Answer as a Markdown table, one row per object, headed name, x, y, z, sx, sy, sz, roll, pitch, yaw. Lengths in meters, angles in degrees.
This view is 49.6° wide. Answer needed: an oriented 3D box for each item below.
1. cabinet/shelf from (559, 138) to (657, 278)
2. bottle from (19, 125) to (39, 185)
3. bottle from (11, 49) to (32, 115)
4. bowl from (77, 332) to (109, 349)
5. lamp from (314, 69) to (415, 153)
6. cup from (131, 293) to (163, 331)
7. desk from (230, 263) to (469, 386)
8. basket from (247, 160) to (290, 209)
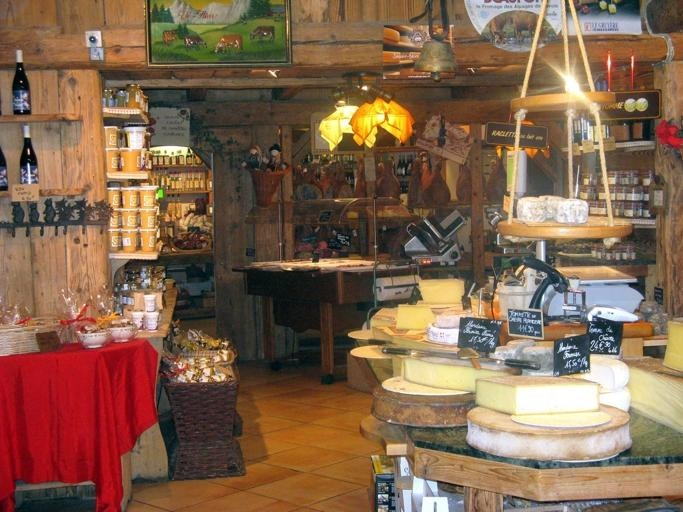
| name | x | y | z | sx | sy | sz | roll | pitch | yaw |
| --- | --- | --- | --- | --- | --- | --- | --- | --- | --- |
| cabinet/shelf | 2.596 | -0.701 | 7.126 | 0.799 | 0.663 | 0.438 | 1 | 21 | 15 |
| bottle | -2.249 | -0.727 | 5.330 | 0.115 | 0.408 | 0.167 | -4 | 7 | -20 |
| bottle | -2.311 | -1.247 | 5.344 | 0.134 | 0.463 | 0.233 | -4 | 7 | -23 |
| bowl | -1.622 | 0.542 | 4.813 | 0.137 | 0.080 | 0.135 | 0 | -7 | 0 |
| lamp | 0.211 | -1.316 | 6.884 | 0.868 | 0.566 | 0.827 | 1 | 5 | 20 |
| cup | -1.423 | 0.408 | 5.405 | 0.190 | 0.259 | 0.259 | -3 | 7 | -10 |
| desk | -0.308 | 0.485 | 7.890 | 1.547 | 0.953 | 1.594 | -2 | 6 | -15 |
| basket | -0.867 | -0.809 | 8.371 | 0.559 | 0.450 | 0.492 | -2 | 2 | -36 |
